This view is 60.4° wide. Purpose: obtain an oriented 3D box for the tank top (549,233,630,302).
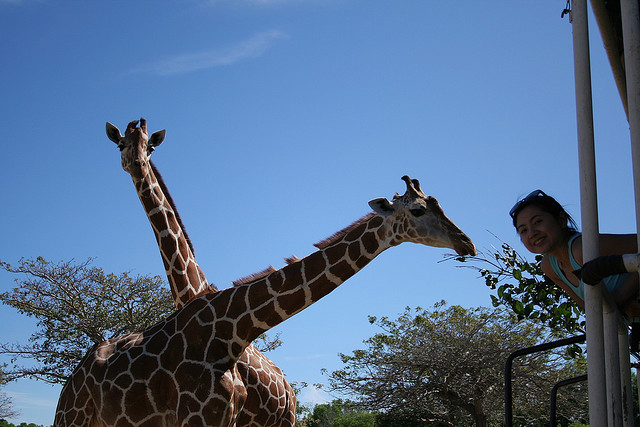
[{"bbox_3d":[1.894,0.423,3.821,0.412,0.220,0.577,-8,-22,26],"label":"tank top"}]
